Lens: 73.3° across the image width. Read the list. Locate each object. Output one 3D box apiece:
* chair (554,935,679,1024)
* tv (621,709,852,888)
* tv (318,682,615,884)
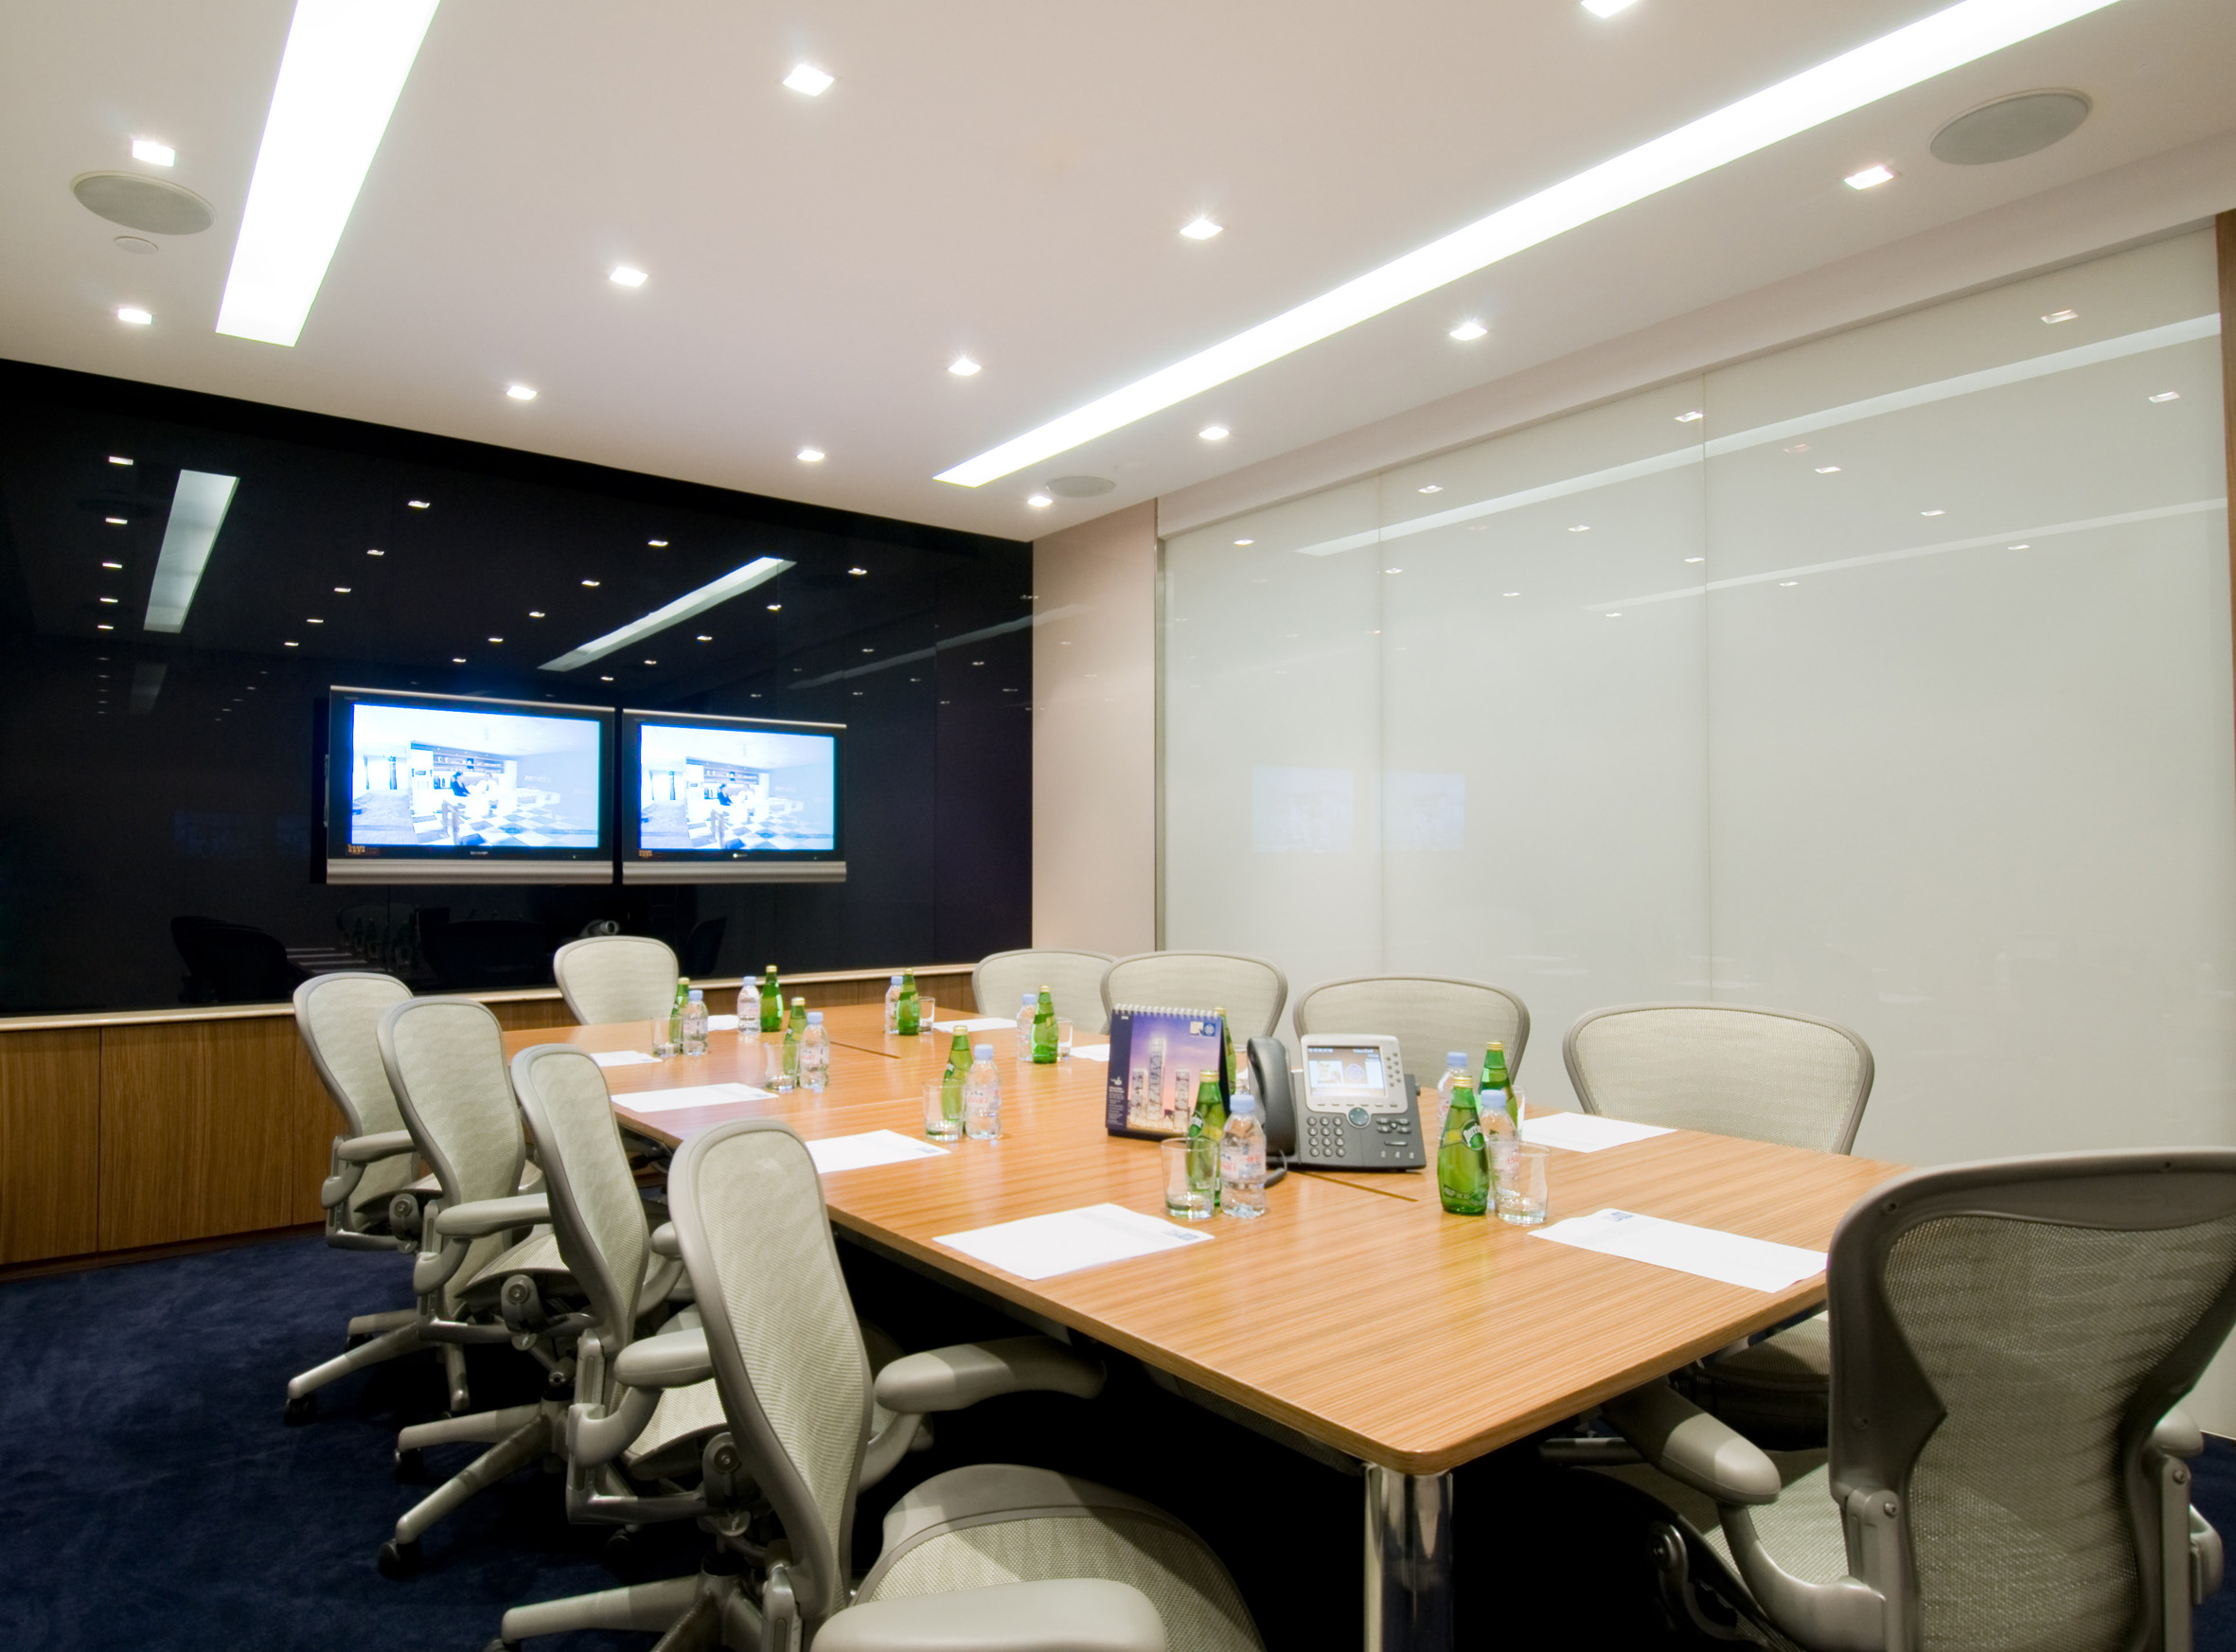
[{"bbox_3d":[-2.061,0.594,6.325,0.394,0.622,0.411,2,-4,-38],"label":"chair"},{"bbox_3d":[-1.916,-0.145,7.439,0.876,0.690,0.074,0,-1,-40],"label":"tv"},{"bbox_3d":[-2.947,-0.200,6.735,0.879,0.672,0.111,2,-5,-37],"label":"tv"}]
